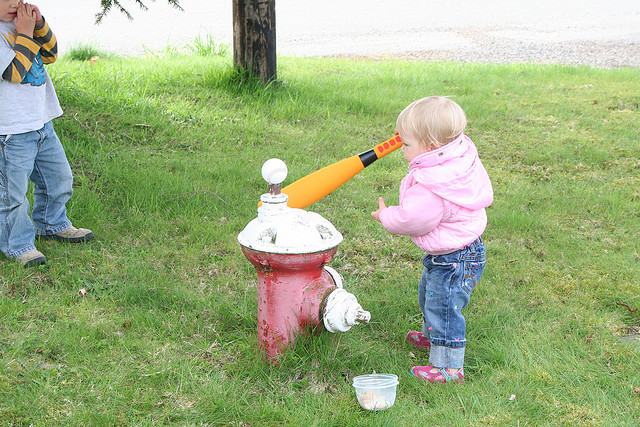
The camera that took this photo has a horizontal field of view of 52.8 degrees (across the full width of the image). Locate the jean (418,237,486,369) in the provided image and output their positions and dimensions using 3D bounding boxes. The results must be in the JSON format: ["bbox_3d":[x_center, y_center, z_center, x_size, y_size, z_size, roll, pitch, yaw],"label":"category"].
[{"bbox_3d":[0.901,0.611,4.432,0.410,0.827,0.400,6,23,10],"label":"jean"}]

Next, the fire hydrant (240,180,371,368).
[{"bbox_3d":[-0.137,0.424,4.313,0.768,1.200,0.402,-2,23,-8],"label":"fire hydrant"}]

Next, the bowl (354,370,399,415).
[{"bbox_3d":[0.368,1.176,4.173,0.289,0.212,0.174,-2,23,-7],"label":"bowl"}]

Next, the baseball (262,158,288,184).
[{"bbox_3d":[-0.306,-0.285,4.295,0.153,0.180,0.187,-1,23,-5],"label":"baseball"}]
